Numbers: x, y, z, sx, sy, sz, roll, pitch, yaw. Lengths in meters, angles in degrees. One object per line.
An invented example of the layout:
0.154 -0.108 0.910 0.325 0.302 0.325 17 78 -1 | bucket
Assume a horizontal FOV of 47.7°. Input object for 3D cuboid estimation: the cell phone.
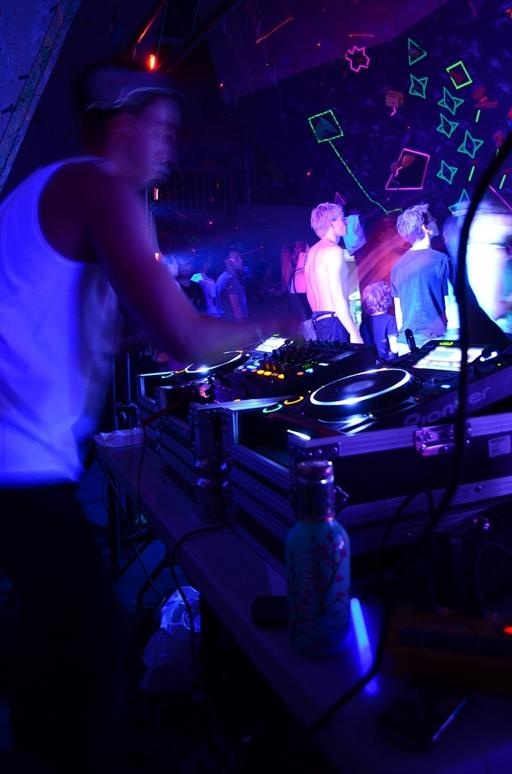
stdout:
0.164 0.324 0.576 0.060 0.012 0.103 2 13 41 | cell phone
